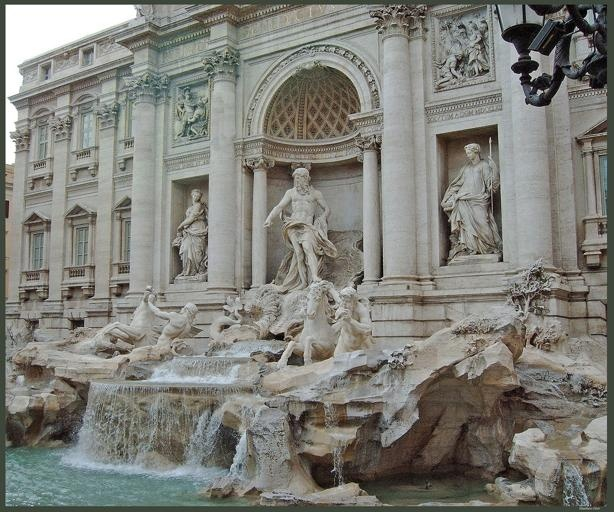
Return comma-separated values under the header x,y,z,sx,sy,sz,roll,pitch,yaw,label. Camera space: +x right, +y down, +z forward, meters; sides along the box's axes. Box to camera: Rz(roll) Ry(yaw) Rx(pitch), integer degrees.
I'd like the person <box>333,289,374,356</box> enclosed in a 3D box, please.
x,y,z,sx,sy,sz,roll,pitch,yaw,label
0.865,1.263,12.908,0.728,1.293,1.848,-2,-12,4,person

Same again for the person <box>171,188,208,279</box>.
x,y,z,sx,sy,sz,roll,pitch,yaw,label
-3.565,-0.608,21.090,0.933,2.769,0.590,-2,-11,0,person

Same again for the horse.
x,y,z,sx,sy,sz,roll,pitch,yaw,label
0.246,1.398,14.200,0.722,1.713,2.263,-3,-5,26,horse
